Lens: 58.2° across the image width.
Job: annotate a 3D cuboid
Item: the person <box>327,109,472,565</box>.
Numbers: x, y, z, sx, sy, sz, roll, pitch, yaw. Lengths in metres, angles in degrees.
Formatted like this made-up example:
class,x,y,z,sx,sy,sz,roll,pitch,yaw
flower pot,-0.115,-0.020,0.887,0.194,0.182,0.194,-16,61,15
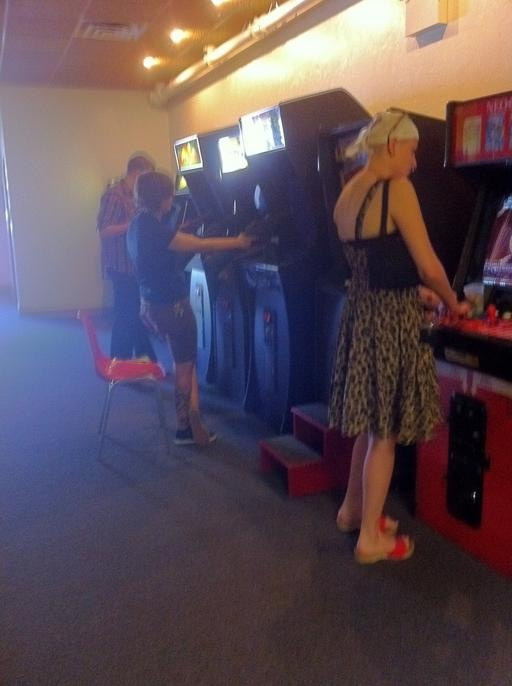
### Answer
class,x,y,z,sx,sy,sz,roll,pitch,yaw
person,0.392,0.008,1.461,0.316,1.474,0.450,-4,6,-27

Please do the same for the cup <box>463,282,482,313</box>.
class,x,y,z,sx,sy,sz,roll,pitch,yaw
cup,0.676,-0.143,1.444,0.048,0.094,0.058,11,-19,-36

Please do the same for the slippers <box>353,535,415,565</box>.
class,x,y,z,sx,sy,sz,roll,pitch,yaw
slippers,0.436,0.662,1.528,0.153,0.059,0.099,-11,18,-8

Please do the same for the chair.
class,x,y,z,sx,sy,sz,roll,pitch,yaw
chair,-0.698,0.202,2.543,0.382,0.807,0.396,-4,7,-11

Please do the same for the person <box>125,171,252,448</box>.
class,x,y,z,sx,sy,sz,roll,pitch,yaw
person,-0.389,-0.189,2.674,0.497,1.578,0.507,-5,7,-14

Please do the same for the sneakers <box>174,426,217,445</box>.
class,x,y,z,sx,sy,sz,roll,pitch,yaw
sneakers,-0.353,0.534,2.727,0.244,0.144,0.104,-3,6,-12

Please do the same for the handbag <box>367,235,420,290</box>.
class,x,y,z,sx,sy,sz,roll,pitch,yaw
handbag,0.382,-0.232,1.293,0.145,0.149,0.065,1,6,19
